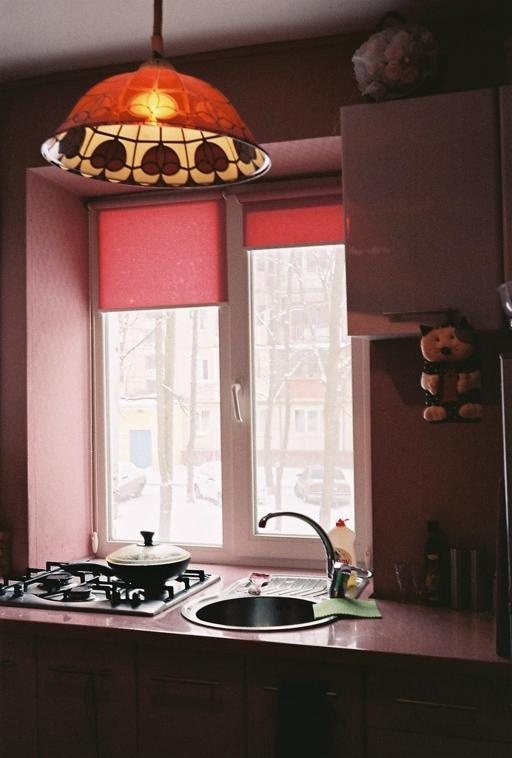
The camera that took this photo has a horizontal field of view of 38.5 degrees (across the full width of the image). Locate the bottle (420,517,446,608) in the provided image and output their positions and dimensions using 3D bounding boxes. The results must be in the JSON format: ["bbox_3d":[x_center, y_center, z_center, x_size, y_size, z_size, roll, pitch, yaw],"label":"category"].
[{"bbox_3d":[0.478,0.493,1.960,0.052,0.204,0.095,0,3,15],"label":"bottle"}]

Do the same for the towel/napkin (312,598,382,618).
[{"bbox_3d":[0.238,0.601,1.925,0.173,0.021,0.164,-1,3,3],"label":"towel/napkin"}]

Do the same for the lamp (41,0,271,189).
[{"bbox_3d":[-0.164,-0.526,1.259,0.396,0.331,0.325,-2,3,-14],"label":"lamp"}]

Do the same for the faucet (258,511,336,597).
[{"bbox_3d":[0.129,0.501,2.178,0.220,0.223,0.248,0,3,9],"label":"faucet"}]

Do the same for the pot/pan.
[{"bbox_3d":[-0.305,0.515,2.098,0.178,0.138,0.190,2,4,44],"label":"pot/pan"}]
